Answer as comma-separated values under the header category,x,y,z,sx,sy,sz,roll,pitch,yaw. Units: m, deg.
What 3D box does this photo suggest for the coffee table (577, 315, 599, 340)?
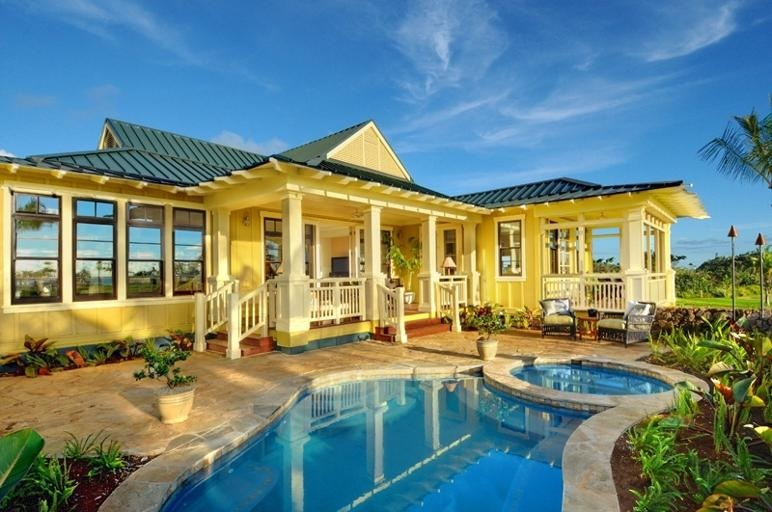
category,x,y,z,sx,sy,sz,roll,pitch,yaw
coffee table,6.844,2.417,16.193,0.702,0.641,0.705,1,3,20

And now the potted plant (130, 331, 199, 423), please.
category,x,y,z,sx,sy,sz,roll,pitch,yaw
potted plant,-5.430,2.987,11.675,1.686,2.235,1.613,0,0,3

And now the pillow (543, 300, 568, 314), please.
category,x,y,z,sx,sy,sz,roll,pitch,yaw
pillow,5.793,1.722,16.405,0.595,0.542,0.174,0,-24,1

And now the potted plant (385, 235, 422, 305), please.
category,x,y,z,sx,sy,sz,roll,pitch,yaw
potted plant,0.760,0.280,20.972,1.514,2.515,1.128,-1,-5,-7

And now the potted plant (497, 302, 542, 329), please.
category,x,y,z,sx,sy,sz,roll,pitch,yaw
potted plant,5.202,2.295,17.881,1.466,0.710,1.277,0,15,-5

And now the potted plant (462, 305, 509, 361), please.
category,x,y,z,sx,sy,sz,roll,pitch,yaw
potted plant,3.026,2.213,14.424,1.369,1.714,1.636,-1,0,2

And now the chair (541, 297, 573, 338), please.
category,x,y,z,sx,sy,sz,roll,pitch,yaw
chair,6.082,2.084,16.501,1.037,1.219,1.273,-1,-8,14

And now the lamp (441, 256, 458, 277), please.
category,x,y,z,sx,sy,sz,roll,pitch,yaw
lamp,2.595,0.428,19.100,0.749,1.003,0.809,-1,0,-9
